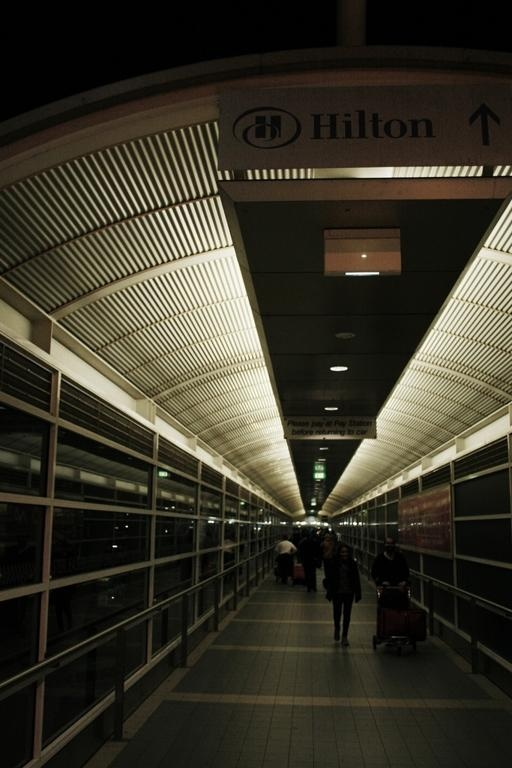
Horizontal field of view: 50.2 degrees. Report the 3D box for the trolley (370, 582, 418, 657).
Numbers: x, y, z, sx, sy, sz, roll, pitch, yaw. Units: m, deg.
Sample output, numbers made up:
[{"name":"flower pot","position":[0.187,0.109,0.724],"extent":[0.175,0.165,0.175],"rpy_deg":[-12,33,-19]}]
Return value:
[{"name":"trolley","position":[2.226,3.750,8.700],"extent":[0.735,0.976,0.973],"rpy_deg":[1,-13,3]}]
